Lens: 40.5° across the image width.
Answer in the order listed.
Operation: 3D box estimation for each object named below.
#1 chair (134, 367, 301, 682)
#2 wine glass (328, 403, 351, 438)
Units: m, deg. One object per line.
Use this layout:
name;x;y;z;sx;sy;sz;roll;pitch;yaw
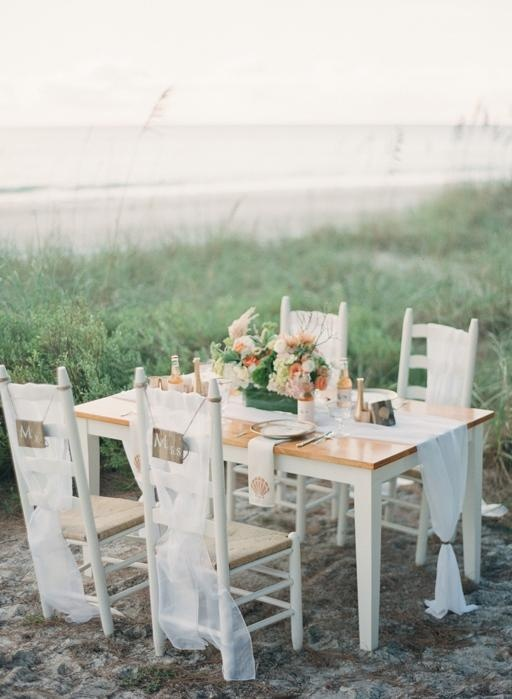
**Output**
chair;-0.134;0.558;2.300;0.406;1.027;0.480;4;8;36
wine glass;0.309;0.256;2.539;0.115;0.128;0.116;0;5;3
